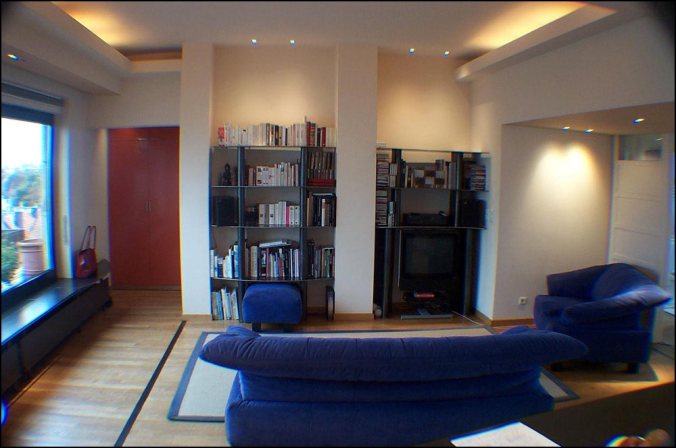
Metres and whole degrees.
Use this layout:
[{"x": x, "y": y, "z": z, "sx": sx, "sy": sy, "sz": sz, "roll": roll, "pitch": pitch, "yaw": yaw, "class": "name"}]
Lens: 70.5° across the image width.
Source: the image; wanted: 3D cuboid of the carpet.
[{"x": 0.298, "y": 1.610, "z": 5.505, "sx": 3.407, "sy": 0.030, "sz": 1.776, "roll": -4, "pitch": 12, "yaw": 11, "class": "carpet"}]

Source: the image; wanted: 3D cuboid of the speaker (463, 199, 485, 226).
[{"x": 1.975, "y": -0.158, "z": 6.955, "sx": 0.326, "sy": 0.397, "sz": 0.130, "roll": -1, "pitch": 3, "yaw": 11, "class": "speaker"}]

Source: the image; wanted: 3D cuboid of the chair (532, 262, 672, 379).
[{"x": 3.207, "y": 1.074, "z": 6.132, "sx": 1.374, "sy": 1.135, "sz": 1.409, "roll": 0, "pitch": 4, "yaw": 10, "class": "chair"}]

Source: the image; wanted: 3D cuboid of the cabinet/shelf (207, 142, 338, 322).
[{"x": -0.923, "y": 0.539, "z": 6.730, "sx": 1.519, "sy": 1.958, "sz": 0.542, "roll": -3, "pitch": 14, "yaw": -6, "class": "cabinet/shelf"}]

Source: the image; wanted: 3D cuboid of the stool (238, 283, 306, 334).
[{"x": -1.124, "y": 1.202, "z": 6.653, "sx": 0.972, "sy": 0.426, "sz": 1.014, "roll": -6, "pitch": -11, "yaw": 40, "class": "stool"}]
